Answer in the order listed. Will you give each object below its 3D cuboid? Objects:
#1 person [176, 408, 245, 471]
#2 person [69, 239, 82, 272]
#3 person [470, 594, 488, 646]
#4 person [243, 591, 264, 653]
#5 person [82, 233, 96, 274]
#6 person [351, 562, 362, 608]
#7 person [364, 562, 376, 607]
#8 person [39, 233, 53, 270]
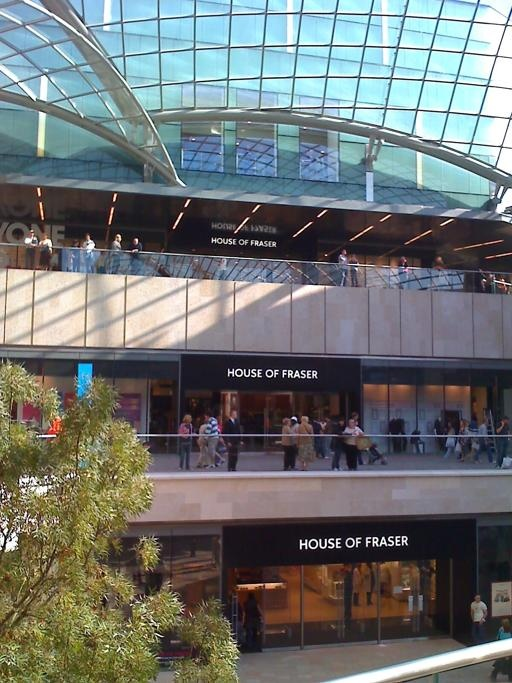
[{"bbox_3d":[-1.348,2.772,26.139,1.407,1.346,0.555,1,8,-5],"label":"person"},{"bbox_3d":[-5.867,-2.650,30.231,0.344,0.777,0.369,-2,10,-18],"label":"person"},{"bbox_3d":[6.488,8.145,27.335,0.523,1.470,1.298,4,10,15],"label":"person"},{"bbox_3d":[-0.080,8.210,27.314,0.564,1.732,0.355,0,10,-9],"label":"person"},{"bbox_3d":[-5.521,-2.847,30.907,0.386,0.974,1.477,0,10,-10],"label":"person"},{"bbox_3d":[2.986,7.308,27.850,0.291,1.275,0.090,1,10,-3],"label":"person"},{"bbox_3d":[3.388,7.283,27.976,0.314,1.307,0.099,-1,10,-12],"label":"person"},{"bbox_3d":[-6.874,-2.917,30.580,0.422,0.921,1.797,-1,10,-12],"label":"person"}]
